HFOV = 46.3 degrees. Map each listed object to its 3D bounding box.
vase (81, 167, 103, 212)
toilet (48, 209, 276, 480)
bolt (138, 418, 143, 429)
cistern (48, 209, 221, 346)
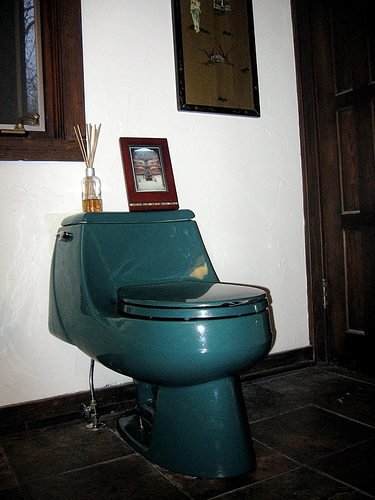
[{"bbox_3d":[-0.292,-0.183,1.334,0.057,0.135,0.073,-3,0,-13],"label":"vase"},{"bbox_3d":[-0.081,0.212,1.251,0.459,0.598,0.724,-8,8,-39],"label":"toilet"},{"bbox_3d":[-0.133,0.491,1.240,0.012,0.034,0.014,-7,-21,14],"label":"bolt"},{"bbox_3d":[-0.181,0.021,1.393,0.522,0.407,0.431,-3,-1,-33],"label":"cistern"}]
